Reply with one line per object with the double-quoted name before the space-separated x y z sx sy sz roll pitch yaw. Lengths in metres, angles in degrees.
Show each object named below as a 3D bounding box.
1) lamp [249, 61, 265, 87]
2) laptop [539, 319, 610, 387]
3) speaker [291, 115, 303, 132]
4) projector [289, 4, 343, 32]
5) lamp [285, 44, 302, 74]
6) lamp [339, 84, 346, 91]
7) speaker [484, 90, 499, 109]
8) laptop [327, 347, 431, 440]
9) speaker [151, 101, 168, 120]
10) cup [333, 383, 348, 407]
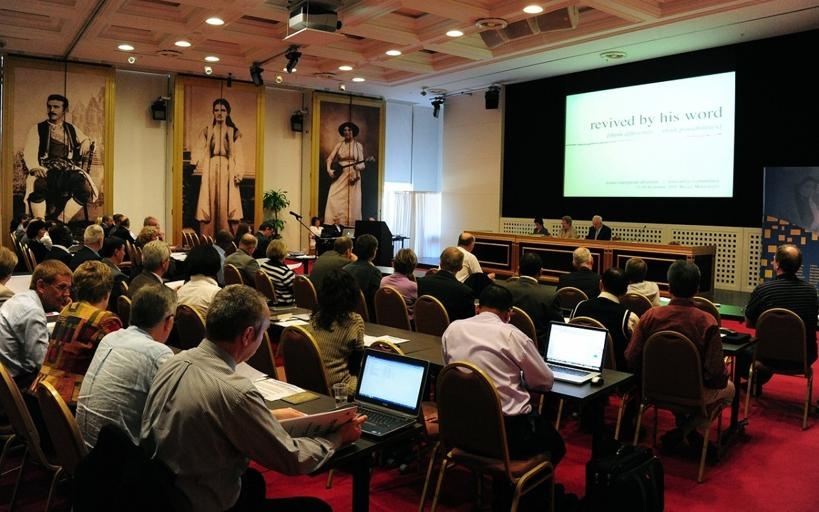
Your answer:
"lamp" -3.479 -4.133 12.921 0.279 0.519 0.581 -2 6 -20
"laptop" 1.432 0.802 4.938 0.526 0.459 0.378 10 10 33
"speaker" -3.172 -3.713 15.867 0.411 0.555 0.208 -2 5 -30
"projector" -1.574 -3.928 9.441 0.521 0.357 0.720 -2 8 -12
"lamp" -2.485 -4.122 12.157 0.340 0.646 1.752 -1 6 -11
"lamp" -1.689 -4.297 14.489 0.208 0.197 0.210 -5 19 -16
"speaker" 2.171 -4.119 15.078 0.411 0.438 0.383 4 7 33
"laptop" -0.171 0.867 4.121 0.598 0.443 0.527 10 16 37
"speaker" -6.223 -3.598 14.089 0.377 0.490 0.279 -3 6 -27
"cup" -0.500 1.030 4.221 0.136 0.150 0.134 -1 2 0
